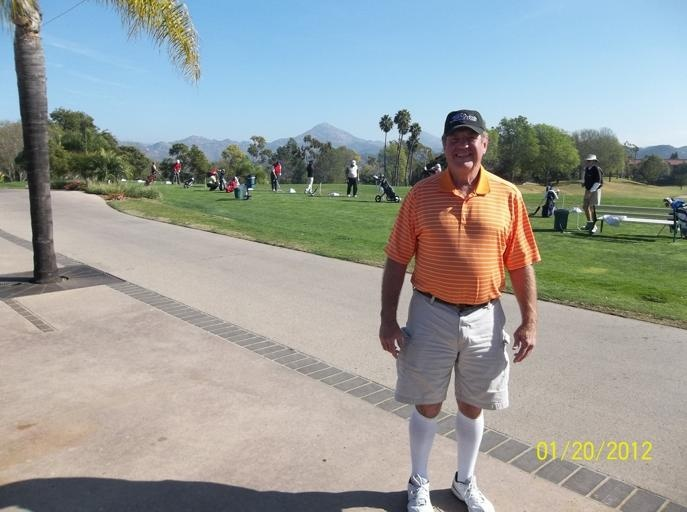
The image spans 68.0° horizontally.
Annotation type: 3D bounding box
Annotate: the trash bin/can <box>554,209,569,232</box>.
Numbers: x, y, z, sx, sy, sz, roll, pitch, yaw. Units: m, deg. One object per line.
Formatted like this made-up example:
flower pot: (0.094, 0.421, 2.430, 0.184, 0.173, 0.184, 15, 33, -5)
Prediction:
trash bin/can: (7.242, -1.236, 17.157, 0.435, 0.736, 0.885, 8, 16, 21)

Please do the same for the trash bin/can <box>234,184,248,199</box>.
trash bin/can: (-5.716, -3.570, 28.189, 0.787, 0.958, 1.020, -7, 17, -28)

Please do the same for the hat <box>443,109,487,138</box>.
hat: (0.899, -1.034, 3.985, 0.384, 0.205, 0.246, -9, 18, -35)
